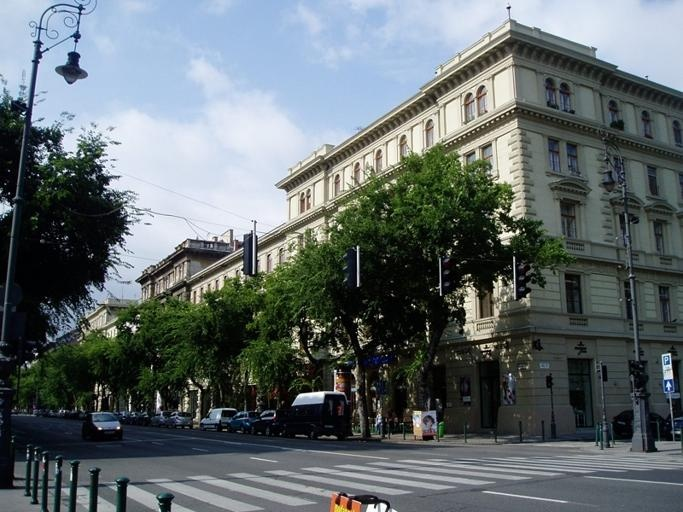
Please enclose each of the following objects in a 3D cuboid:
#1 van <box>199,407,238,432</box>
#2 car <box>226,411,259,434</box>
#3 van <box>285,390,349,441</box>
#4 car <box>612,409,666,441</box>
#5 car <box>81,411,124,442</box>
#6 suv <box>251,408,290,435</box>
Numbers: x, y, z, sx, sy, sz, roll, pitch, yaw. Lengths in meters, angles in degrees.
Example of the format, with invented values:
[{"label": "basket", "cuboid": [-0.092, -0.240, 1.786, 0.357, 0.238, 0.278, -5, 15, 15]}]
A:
[{"label": "van", "cuboid": [-9.802, 13.418, 60.612, 1.891, 1.388, 3.247, 9, -15, -34]}, {"label": "car", "cuboid": [-7.220, 12.510, 55.334, 1.409, 1.114, 2.692, 8, -14, -32]}, {"label": "van", "cuboid": [-1.692, 10.254, 46.956, 4.970, 2.971, 3.577, -6, -18, 20]}, {"label": "car", "cuboid": [15.773, 9.213, 40.035, 3.002, 1.447, 1.870, 0, -10, -5]}, {"label": "car", "cuboid": [-13.780, 9.862, 42.741, 1.436, 1.204, 2.498, 9, -24, -28]}, {"label": "suv", "cuboid": [-4.509, 11.614, 51.432, 1.566, 1.337, 3.412, 8, -15, -27]}]
